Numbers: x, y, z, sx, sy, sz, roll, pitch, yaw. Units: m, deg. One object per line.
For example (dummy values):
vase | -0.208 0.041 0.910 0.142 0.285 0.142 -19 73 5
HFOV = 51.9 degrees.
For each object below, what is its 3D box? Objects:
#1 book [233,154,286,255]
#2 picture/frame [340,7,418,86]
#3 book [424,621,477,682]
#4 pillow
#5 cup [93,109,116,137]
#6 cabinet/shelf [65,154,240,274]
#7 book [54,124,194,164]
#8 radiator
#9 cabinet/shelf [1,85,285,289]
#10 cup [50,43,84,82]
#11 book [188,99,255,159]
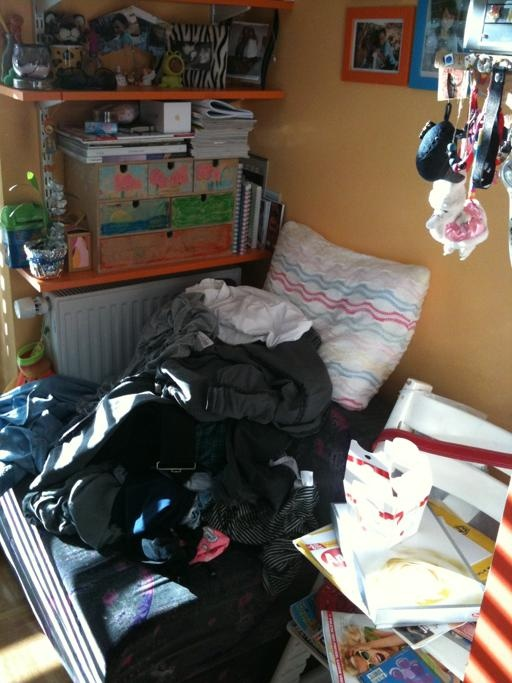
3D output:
book | 0.019 -0.575 2.169 0.216 0.330 0.348 1 39 -16
picture/frame | 0.380 -0.893 1.587 0.030 0.220 0.309 -19 37 -27
book | 0.322 0.499 0.871 0.065 0.052 0.110 21 34 28
pillow | 0.291 -0.041 1.733 0.183 0.518 0.621 15 12 -41
cup | -0.498 -0.720 1.743 0.095 0.086 0.068 29 39 32
cabinet/shelf | -0.431 -0.524 2.045 0.354 0.394 0.632 25 31 38
book | -0.447 -0.679 1.814 0.466 0.086 0.277 -4 30 -14
radiator | -0.457 -0.048 1.863 0.491 0.337 0.054 -13 38 -22
cabinet/shelf | -0.399 -0.579 2.003 1.025 0.709 0.389 -18 37 -33
cup | -0.607 -0.906 1.715 0.102 0.111 0.120 1 25 -13
book | -0.109 -0.758 1.859 0.206 0.091 0.257 -4 33 -12
